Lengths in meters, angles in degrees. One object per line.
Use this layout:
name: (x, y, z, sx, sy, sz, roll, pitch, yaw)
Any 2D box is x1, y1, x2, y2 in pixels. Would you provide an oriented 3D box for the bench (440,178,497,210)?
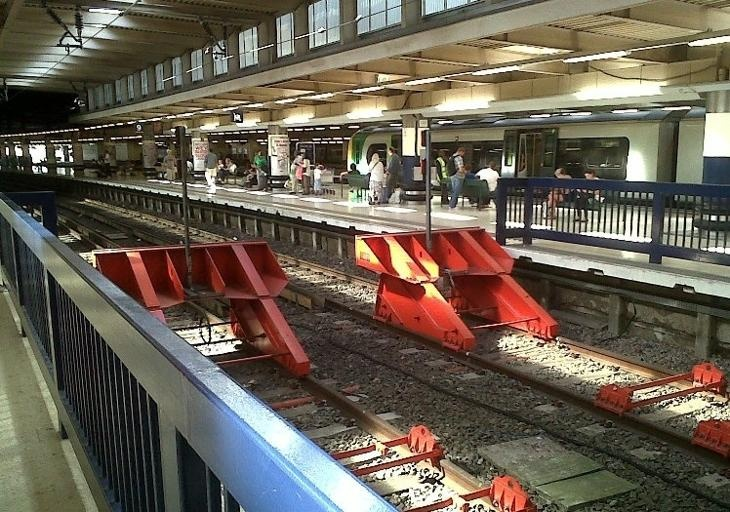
bench: (3.753, -2.208, 17.506, 0.652, 1.078, 1.984, -15, 22, -30)

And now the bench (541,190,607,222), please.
bench: (4.333, -1.033, 10.086, 0.372, 0.439, 0.814, -9, 13, -32)
